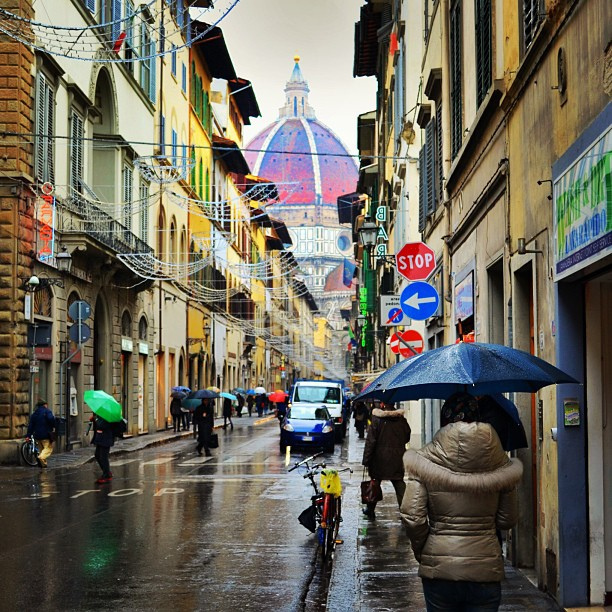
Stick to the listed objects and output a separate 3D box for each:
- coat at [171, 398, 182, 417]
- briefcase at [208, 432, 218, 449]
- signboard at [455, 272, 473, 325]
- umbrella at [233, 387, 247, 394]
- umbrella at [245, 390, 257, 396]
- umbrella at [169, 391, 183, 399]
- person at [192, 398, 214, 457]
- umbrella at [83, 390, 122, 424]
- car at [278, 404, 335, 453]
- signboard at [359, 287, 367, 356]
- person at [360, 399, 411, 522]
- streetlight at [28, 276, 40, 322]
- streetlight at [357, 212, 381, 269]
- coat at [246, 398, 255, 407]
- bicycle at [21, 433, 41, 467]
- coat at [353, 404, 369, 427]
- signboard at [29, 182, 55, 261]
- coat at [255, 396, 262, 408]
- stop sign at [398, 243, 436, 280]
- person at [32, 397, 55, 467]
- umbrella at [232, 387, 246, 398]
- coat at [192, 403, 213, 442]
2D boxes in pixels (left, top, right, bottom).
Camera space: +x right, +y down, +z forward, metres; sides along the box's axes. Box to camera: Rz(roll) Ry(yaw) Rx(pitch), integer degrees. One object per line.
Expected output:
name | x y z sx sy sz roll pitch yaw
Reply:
coat | -4.819 3.782 39.177 0.332 0.715 0.787 0 0 -8
briefcase | -2.318 3.340 26.296 0.187 0.254 0.455 0 0 -12
signboard | 2.235 -0.139 15.052 0.022 0.661 1.294 -1 8 21
umbrella | -4.146 5.265 65.703 0.566 0.367 0.941 8 -8 8
umbrella | -3.438 5.390 65.863 0.439 0.232 0.529 4 -3 4
umbrella | -4.703 3.247 38.414 0.452 0.275 0.517 0 0 3
person | -2.577 3.067 26.650 0.446 0.946 1.327 0 0 -5
umbrella | -3.690 1.849 19.165 0.647 0.569 0.601 1 0 -34
car | 0.028 3.250 27.770 1.254 1.352 2.695 -1 -9 1
signboard | 3.282 0.818 58.594 0.662 4.188 0.322 0 -21 1
person | 1.061 1.894 13.943 0.507 1.990 0.578 0 19 -3
streetlight | -5.917 -0.179 22.926 0.227 0.998 1.069 0 0 -16
streetlight | 1.437 -1.499 24.364 0.660 1.512 0.779 0 5 5
coat | -3.475 6.007 65.555 0.458 0.724 0.339 0 2 9
bicycle | -5.636 3.019 21.784 0.313 0.557 0.748 1 -7 0
coat | 1.830 3.635 34.983 0.461 1.077 0.715 1 -5 20
signboard | -5.865 -2.025 23.699 0.379 1.915 0.402 0 5 2
coat | -2.923 6.002 66.203 0.307 0.462 1.402 0 -1 -4
stop sign | 1.716 -0.715 16.297 0.731 0.929 0.123 2 3 41
person | -5.320 2.576 21.382 0.429 1.364 0.487 0 0 -17
umbrella | -4.066 5.192 63.751 0.760 0.368 0.944 1 -1 -3
coat | -2.523 2.927 26.434 0.432 1.354 0.443 5 -19 -28
